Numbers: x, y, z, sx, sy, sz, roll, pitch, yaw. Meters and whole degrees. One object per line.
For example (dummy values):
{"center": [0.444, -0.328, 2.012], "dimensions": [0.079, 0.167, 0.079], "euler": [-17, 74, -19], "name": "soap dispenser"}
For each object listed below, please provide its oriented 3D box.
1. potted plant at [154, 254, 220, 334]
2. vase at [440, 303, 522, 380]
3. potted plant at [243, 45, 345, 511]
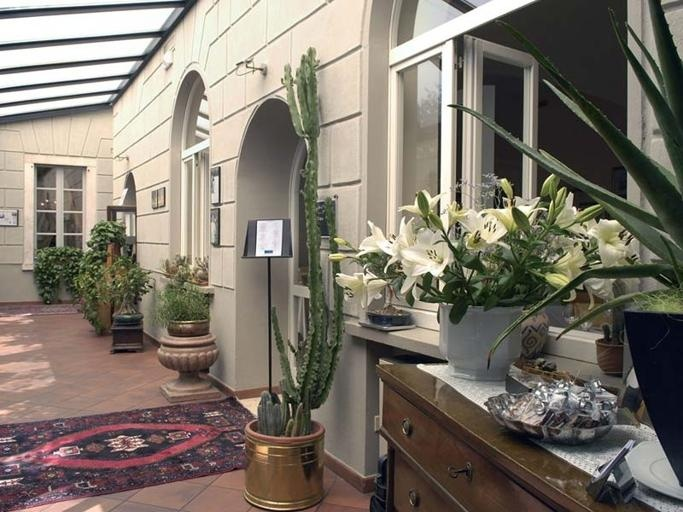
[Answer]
{"center": [-1.691, 0.428, 4.988], "dimensions": [0.868, 1.121, 0.515], "euler": [-4, 0, 33], "name": "potted plant"}
{"center": [0.435, 0.238, 1.358], "dimensions": [0.218, 0.186, 0.222], "euler": [2, -3, -33], "name": "vase"}
{"center": [-0.288, -0.029, 2.965], "dimensions": [0.643, 3.155, 0.939], "euler": [1, 1, 4], "name": "potted plant"}
